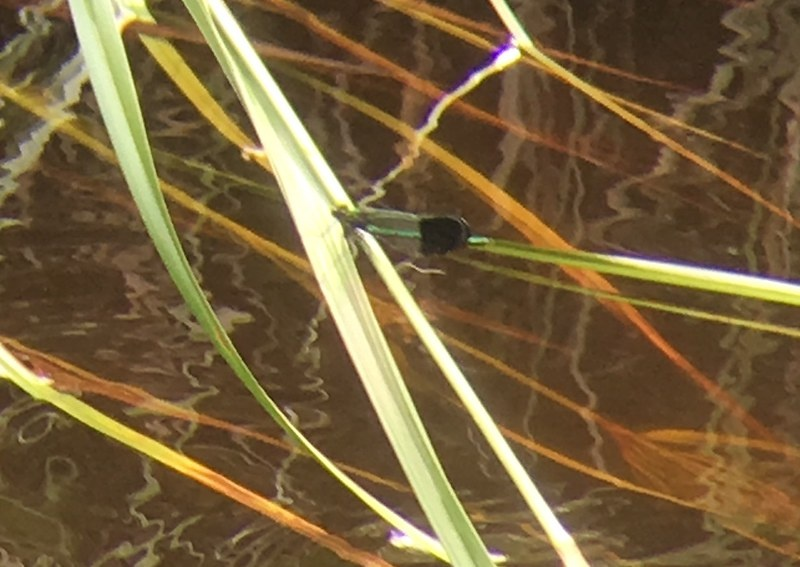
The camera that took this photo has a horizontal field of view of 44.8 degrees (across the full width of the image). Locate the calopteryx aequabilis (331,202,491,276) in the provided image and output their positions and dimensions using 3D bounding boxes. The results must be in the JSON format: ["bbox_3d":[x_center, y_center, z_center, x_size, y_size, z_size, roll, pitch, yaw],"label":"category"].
[{"bbox_3d":[0.005,-0.022,0.621,0.098,0.026,0.027,2,-93,10],"label":"calopteryx aequabilis"}]
